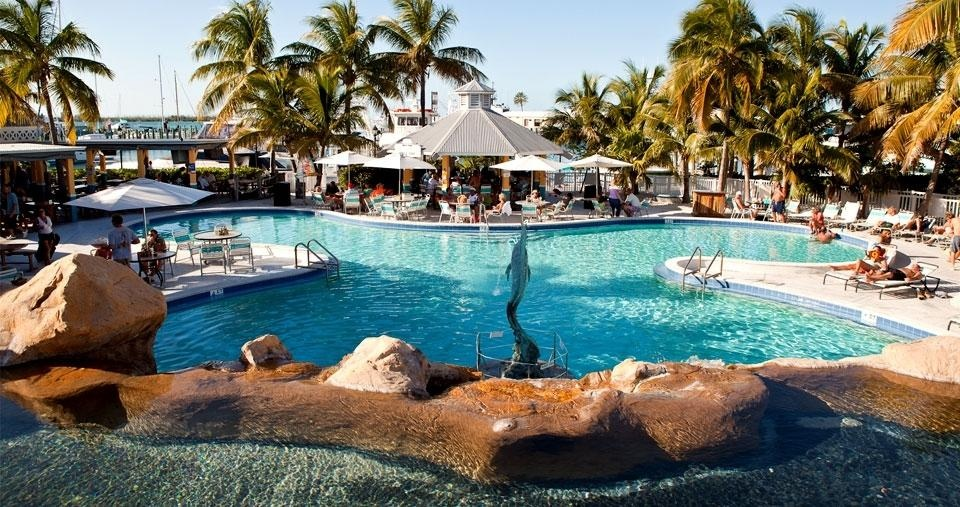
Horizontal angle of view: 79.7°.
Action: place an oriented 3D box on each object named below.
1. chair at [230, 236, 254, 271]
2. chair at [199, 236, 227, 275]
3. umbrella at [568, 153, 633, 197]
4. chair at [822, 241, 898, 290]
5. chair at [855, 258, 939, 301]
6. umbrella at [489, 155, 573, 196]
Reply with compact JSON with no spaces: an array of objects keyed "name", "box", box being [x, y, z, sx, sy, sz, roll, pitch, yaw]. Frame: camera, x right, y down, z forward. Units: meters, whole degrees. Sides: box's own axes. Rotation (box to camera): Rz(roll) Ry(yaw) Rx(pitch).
[{"name":"chair","box":[-8.213,0.039,19.619,0.899,1.352,0.939,-6,32,-22]},{"name":"chair","box":[-9.034,0.137,19.389,0.867,0.832,0.958,-5,12,-25]},{"name":"umbrella","box":[6.021,-3.669,29.528,2.803,1.755,2.949,9,17,33]},{"name":"chair","box":[12.268,0.377,18.359,2.421,1.236,1.223,-14,18,-11]},{"name":"chair","box":[12.921,0.800,17.532,2.623,0.902,1.076,0,11,0]},{"name":"umbrella","box":[2.379,-3.567,28.520,2.683,1.487,2.306,-4,14,-14]}]
